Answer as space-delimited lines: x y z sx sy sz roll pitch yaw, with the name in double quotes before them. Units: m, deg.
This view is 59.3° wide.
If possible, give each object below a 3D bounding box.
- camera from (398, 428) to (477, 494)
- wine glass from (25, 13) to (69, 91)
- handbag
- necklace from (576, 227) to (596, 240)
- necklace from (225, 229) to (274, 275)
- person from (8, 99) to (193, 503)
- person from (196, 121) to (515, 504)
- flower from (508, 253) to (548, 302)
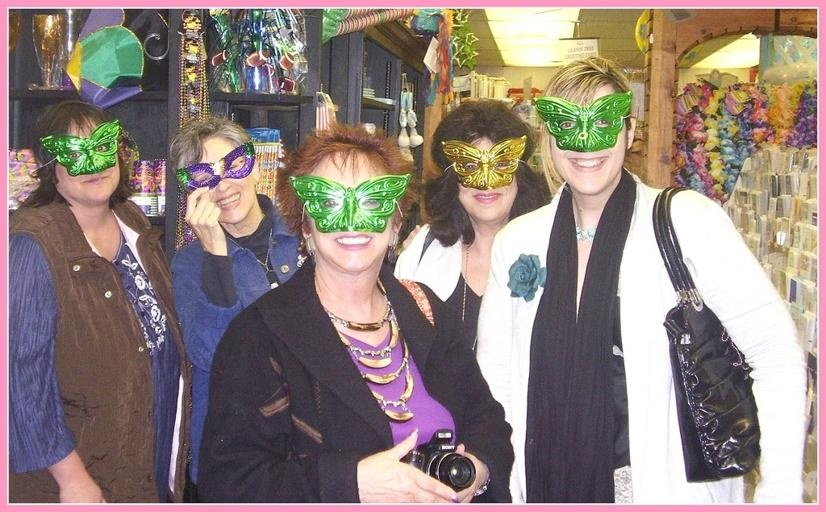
"camera" 0.092 0.735 2.561 0.277 0.195 0.223 -10 -16 9
"wine glass" -1.948 -1.069 3.801 0.158 0.399 0.258 -10 16 -39
"handbag" 1.098 0.317 2.772 0.280 1.104 0.483 -7 14 -27
"necklace" 0.724 -0.087 3.036 0.062 0.021 0.054 2 50 16
"necklace" -0.725 -0.026 3.350 0.231 0.115 0.175 39 36 10
"person" -1.414 0.251 3.130 0.754 1.789 0.603 -8 15 -33
"person" -0.186 0.227 2.603 1.111 1.344 0.644 0 12 0
"flower" 0.466 0.092 2.980 0.195 0.172 0.085 5 4 20
